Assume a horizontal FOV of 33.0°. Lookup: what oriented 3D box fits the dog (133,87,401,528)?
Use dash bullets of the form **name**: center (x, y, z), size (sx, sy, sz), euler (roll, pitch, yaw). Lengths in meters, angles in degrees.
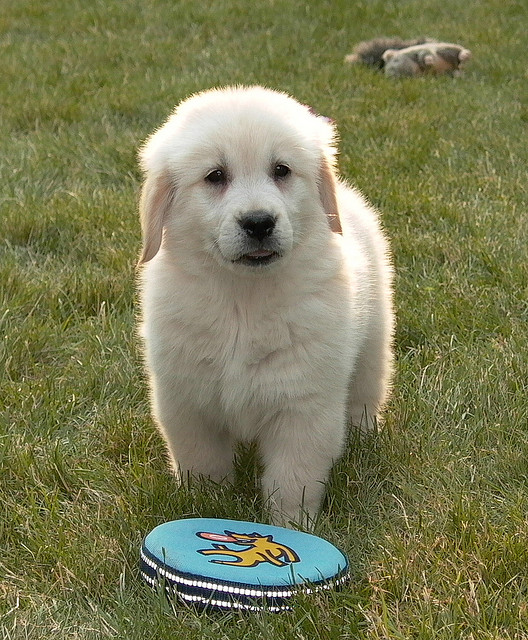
- **dog**: center (0.031, -0.056, 3.373), size (0.706, 1.541, 1.579), euler (4, 13, 12)
